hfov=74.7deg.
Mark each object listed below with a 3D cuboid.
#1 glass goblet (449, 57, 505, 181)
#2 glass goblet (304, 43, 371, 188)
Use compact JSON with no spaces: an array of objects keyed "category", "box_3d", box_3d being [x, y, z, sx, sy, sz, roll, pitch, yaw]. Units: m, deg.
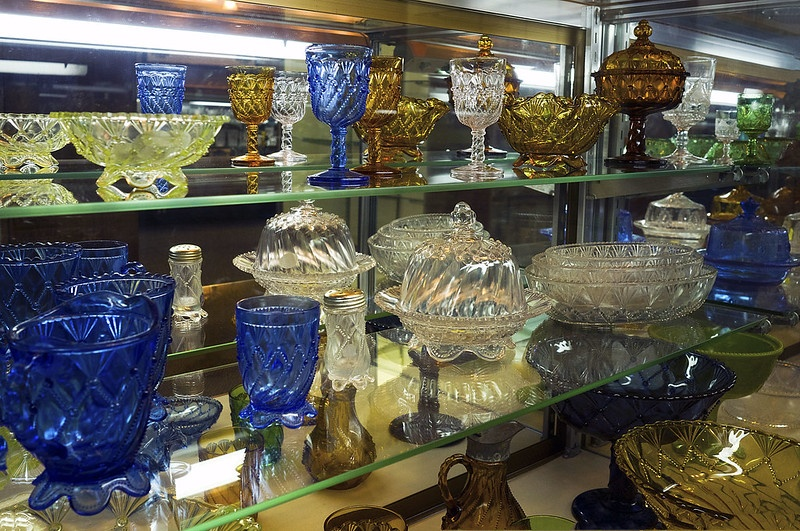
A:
[{"category":"glass goblet","box_3d":[0.154,-0.290,1.026,0.105,0.227,0.268,0,14,11]},{"category":"glass goblet","box_3d":[-0.103,-0.254,0.897,0.118,0.227,0.212,-2,15,4]}]
